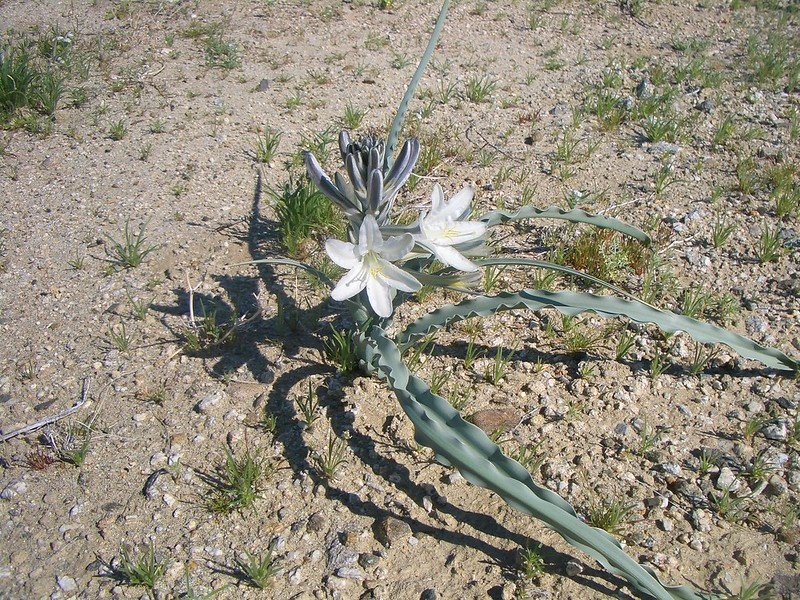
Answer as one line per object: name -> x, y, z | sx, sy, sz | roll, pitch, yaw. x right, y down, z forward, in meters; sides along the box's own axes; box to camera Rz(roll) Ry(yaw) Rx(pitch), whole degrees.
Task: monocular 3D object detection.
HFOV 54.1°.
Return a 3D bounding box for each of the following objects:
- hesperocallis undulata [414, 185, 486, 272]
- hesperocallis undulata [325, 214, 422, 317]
hesperocallis undulata -> 0.274, -0.376, 4.135 | 0.326, 0.405, 0.351 | 12, 46, 17
hesperocallis undulata -> -0.141, -0.140, 4.031 | 0.473, 0.530, 0.387 | -19, 45, -13
